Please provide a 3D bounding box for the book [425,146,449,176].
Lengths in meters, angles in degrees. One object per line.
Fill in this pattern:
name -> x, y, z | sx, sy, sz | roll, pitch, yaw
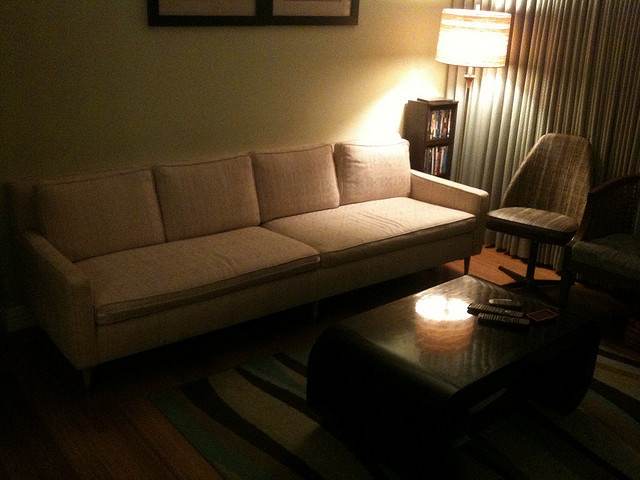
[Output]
book -> 1.043, -0.729, 4.415 | 0.241, 0.237, 0.125 | -18, 29, -33

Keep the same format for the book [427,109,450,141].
book -> 1.057, -1.027, 4.331 | 0.332, 0.235, 0.123 | -5, 17, -38
